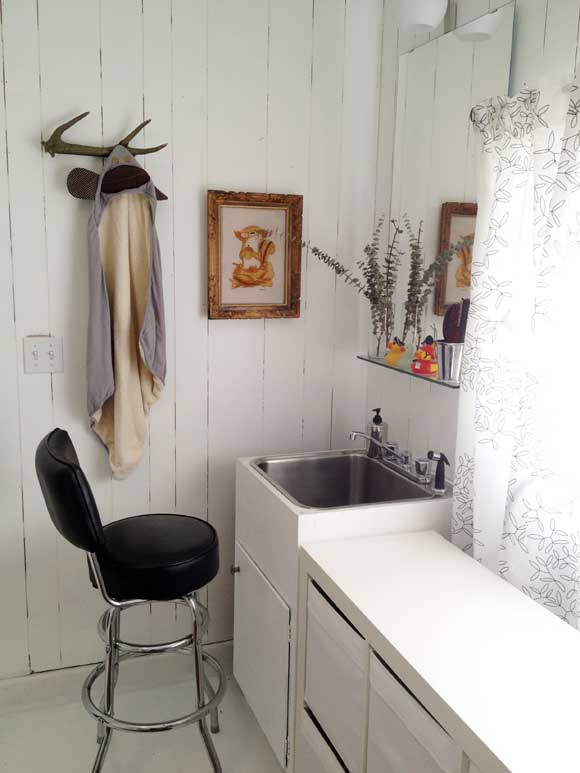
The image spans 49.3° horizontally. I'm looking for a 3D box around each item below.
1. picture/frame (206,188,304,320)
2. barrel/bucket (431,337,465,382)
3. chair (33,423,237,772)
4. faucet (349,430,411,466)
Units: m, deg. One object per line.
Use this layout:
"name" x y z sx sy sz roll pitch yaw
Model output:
"picture/frame" -0.121 -0.432 2.123 0.299 0.436 0.017 0 32 -6
"barrel/bucket" 0.417 -0.080 1.690 0.079 0.118 0.088 -15 20 -38
"chair" -0.419 0.622 1.746 0.463 1.039 0.774 -2 6 1
"faucet" 0.288 0.214 2.083 0.072 0.106 0.300 -1 13 -22
